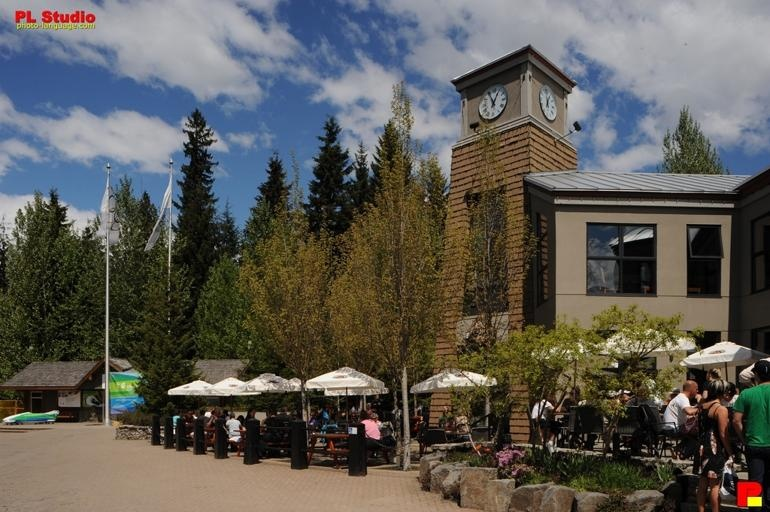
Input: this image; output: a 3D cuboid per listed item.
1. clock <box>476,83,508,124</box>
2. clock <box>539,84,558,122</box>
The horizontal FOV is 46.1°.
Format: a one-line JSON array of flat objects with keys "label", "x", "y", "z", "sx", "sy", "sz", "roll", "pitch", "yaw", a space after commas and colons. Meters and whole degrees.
[{"label": "clock", "x": 5.016, "y": -6.959, "z": 41.937, "sx": 1.734, "sy": 2.031, "sz": 0.256, "roll": -15, "pitch": -23, "yaw": 42}, {"label": "clock", "x": 7.500, "y": -6.938, "z": 41.709, "sx": 0.123, "sy": 1.528, "sz": 1.475, "roll": -19, "pitch": -41, "yaw": 34}]
